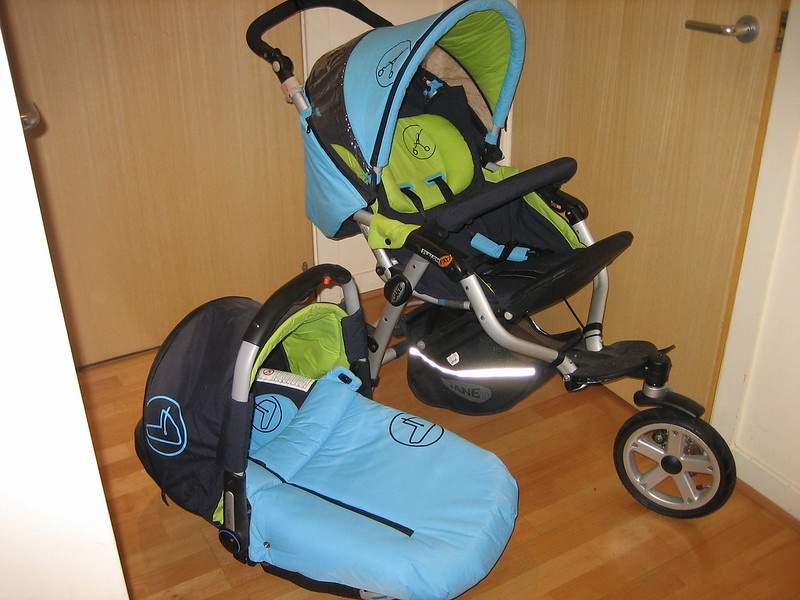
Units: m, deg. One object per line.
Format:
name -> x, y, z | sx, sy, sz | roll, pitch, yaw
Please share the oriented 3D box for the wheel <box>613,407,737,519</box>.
wheel -> 0.882, 0.530, 2.191 | 0.357, 0.377, 0.073 | 11, 23, 33
